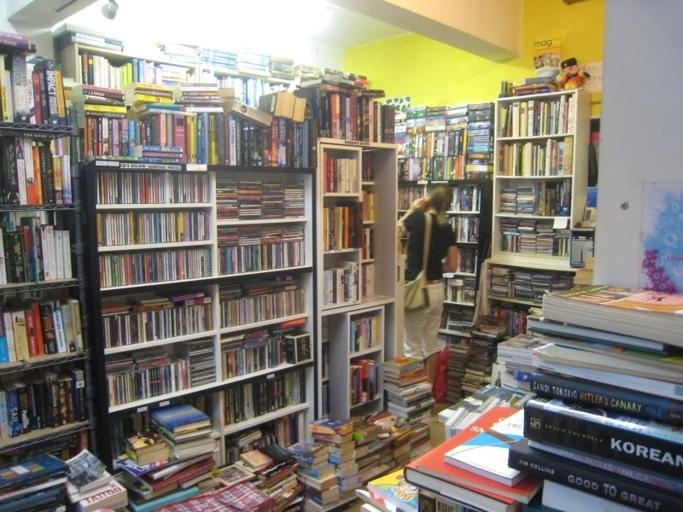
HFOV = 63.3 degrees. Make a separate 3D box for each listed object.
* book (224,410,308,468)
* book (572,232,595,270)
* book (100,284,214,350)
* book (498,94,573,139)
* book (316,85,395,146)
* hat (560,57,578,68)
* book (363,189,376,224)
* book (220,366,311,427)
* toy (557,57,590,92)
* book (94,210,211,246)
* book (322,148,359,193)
[{"bbox_3d":[-0.542,1.264,3.804,0.364,0.326,0.116,-6,13,-39],"label":"book"},{"bbox_3d":[2.166,-0.053,4.999,0.122,0.380,0.294,-5,10,-20],"label":"book"},{"bbox_3d":[-1.137,0.388,3.454,0.695,0.248,0.163,-9,12,-39],"label":"book"},{"bbox_3d":[1.937,-1.378,5.483,0.791,0.392,0.165,8,13,44],"label":"book"},{"bbox_3d":[0.089,-1.064,4.240,0.591,0.332,0.207,-5,9,-45],"label":"book"},{"bbox_3d":[2.268,-1.925,5.540,0.118,0.069,0.136,-5,5,16],"label":"hat"},{"bbox_3d":[0.228,-0.397,4.525,0.168,0.277,0.295,0,2,-2],"label":"book"},{"bbox_3d":[-0.555,0.979,3.899,0.527,0.467,0.166,-7,9,-40],"label":"book"},{"bbox_3d":[2.285,-1.812,5.512,0.306,0.321,0.341,4,11,32],"label":"toy"},{"bbox_3d":[-1.131,-0.173,3.341,0.618,0.196,0.115,-6,10,-27],"label":"book"},{"bbox_3d":[0.012,-0.649,4.250,0.275,0.338,0.460,-1,9,4],"label":"book"}]
